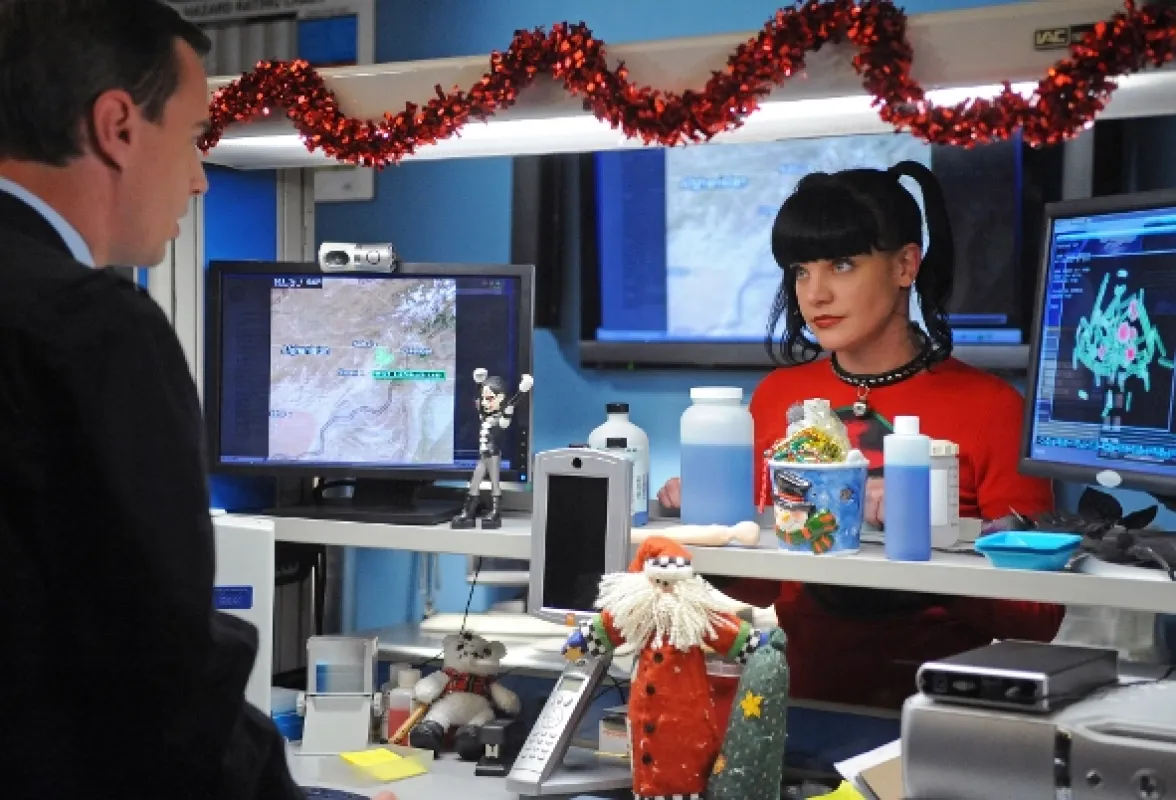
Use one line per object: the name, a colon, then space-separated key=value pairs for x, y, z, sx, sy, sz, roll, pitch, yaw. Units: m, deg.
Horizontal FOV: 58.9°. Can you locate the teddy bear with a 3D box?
teddy bear: x=-0.183 y=0.443 z=1.583 sx=0.152 sy=0.169 sz=0.146 roll=5 pitch=2 yaw=-33

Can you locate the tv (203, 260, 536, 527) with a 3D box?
tv: x=-0.364 y=-0.020 z=1.795 sx=0.480 sy=0.331 sz=0.152 roll=0 pitch=-1 yaw=7

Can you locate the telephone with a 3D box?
telephone: x=-0.048 y=0.426 z=1.510 sx=0.185 sy=0.215 sz=0.224 roll=4 pitch=-7 yaw=-32

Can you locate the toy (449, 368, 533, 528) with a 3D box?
toy: x=-0.151 y=0.071 z=1.700 sx=0.121 sy=0.256 sz=0.232 roll=0 pitch=-1 yaw=-3

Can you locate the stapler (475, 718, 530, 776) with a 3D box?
stapler: x=-0.123 y=0.505 z=1.488 sx=0.033 sy=0.041 sz=0.109 roll=-1 pitch=-3 yaw=6

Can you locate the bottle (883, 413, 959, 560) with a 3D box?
bottle: x=0.454 y=0.116 z=1.409 sx=0.075 sy=0.185 sz=0.198 roll=-1 pitch=-1 yaw=27

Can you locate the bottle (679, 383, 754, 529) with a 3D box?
bottle: x=0.194 y=0.081 z=1.542 sx=0.102 sy=0.199 sz=0.145 roll=0 pitch=-1 yaw=9

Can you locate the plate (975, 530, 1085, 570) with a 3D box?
plate: x=0.567 y=0.191 z=1.322 sx=0.148 sy=0.044 sz=0.086 roll=1 pitch=-1 yaw=-43

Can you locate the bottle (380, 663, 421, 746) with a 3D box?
bottle: x=-0.284 y=0.464 z=1.599 sx=0.058 sy=0.103 sz=0.085 roll=0 pitch=-1 yaw=-21
